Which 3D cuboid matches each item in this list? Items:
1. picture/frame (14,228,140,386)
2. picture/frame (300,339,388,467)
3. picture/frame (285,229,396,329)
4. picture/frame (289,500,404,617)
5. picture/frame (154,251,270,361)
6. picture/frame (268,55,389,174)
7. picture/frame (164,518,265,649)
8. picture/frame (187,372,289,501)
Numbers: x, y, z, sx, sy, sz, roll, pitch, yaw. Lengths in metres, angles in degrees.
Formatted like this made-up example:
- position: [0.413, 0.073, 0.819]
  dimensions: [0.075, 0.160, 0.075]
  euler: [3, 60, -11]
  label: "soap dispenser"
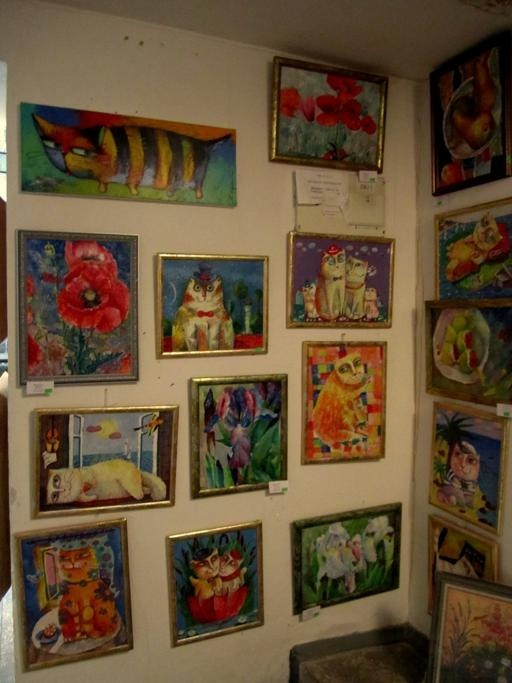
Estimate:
- position: [-0.796, -0.162, 2.516]
  dimensions: [0.624, 0.887, 0.038]
  euler: [-1, 0, -26]
  label: "picture/frame"
- position: [0.434, 0.296, 3.004]
  dimensions: [0.571, 0.827, 0.037]
  euler: [-4, 9, -21]
  label: "picture/frame"
- position: [0.402, -0.325, 2.948]
  dimensions: [0.467, 0.390, 0.017]
  euler: [-2, 5, -20]
  label: "picture/frame"
- position: [0.451, 1.121, 3.065]
  dimensions: [0.585, 0.534, 0.028]
  euler: [-7, 12, -25]
  label: "picture/frame"
- position: [-0.229, -0.178, 2.723]
  dimensions: [0.469, 0.443, 0.036]
  euler: [-1, 6, -21]
  label: "picture/frame"
- position: [0.331, -1.121, 2.840]
  dimensions: [0.513, 0.418, 0.037]
  euler: [-3, 14, -24]
  label: "picture/frame"
- position: [-0.221, 1.150, 2.810]
  dimensions: [0.622, 0.761, 0.047]
  euler: [-2, 0, -31]
  label: "picture/frame"
- position: [-0.107, 0.437, 2.810]
  dimensions: [0.550, 0.697, 0.043]
  euler: [-4, 7, -26]
  label: "picture/frame"
